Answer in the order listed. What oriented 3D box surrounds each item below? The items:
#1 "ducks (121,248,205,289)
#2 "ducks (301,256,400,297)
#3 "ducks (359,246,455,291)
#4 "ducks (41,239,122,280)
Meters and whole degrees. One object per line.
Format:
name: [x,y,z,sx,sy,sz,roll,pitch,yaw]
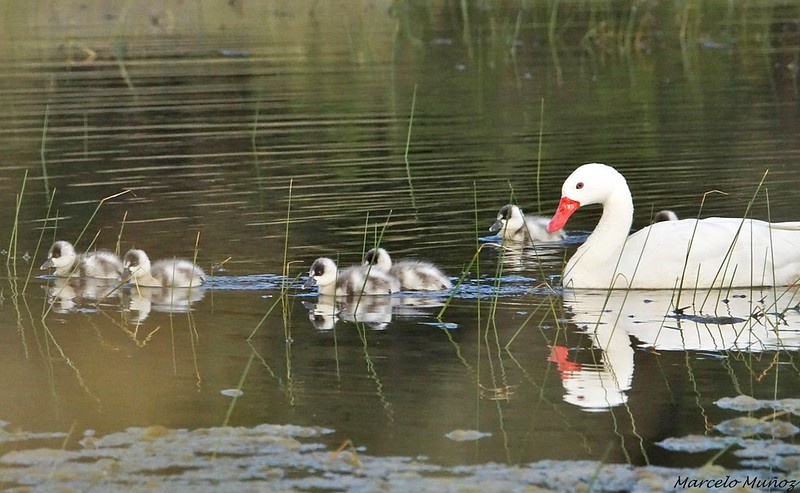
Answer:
"ducks: [-4.150,0.408,17.222,1.552,0.529,0.651,2,0,13]
"ducks: [-0.803,0.515,16.713,1.584,0.648,0.534,0,8,-1]
"ducks: [0.138,0.380,17.133,1.599,0.561,0.555,5,27,28]
"ducks: [-5.767,0.365,17.969,1.591,0.600,0.538,2,-7,-36]
